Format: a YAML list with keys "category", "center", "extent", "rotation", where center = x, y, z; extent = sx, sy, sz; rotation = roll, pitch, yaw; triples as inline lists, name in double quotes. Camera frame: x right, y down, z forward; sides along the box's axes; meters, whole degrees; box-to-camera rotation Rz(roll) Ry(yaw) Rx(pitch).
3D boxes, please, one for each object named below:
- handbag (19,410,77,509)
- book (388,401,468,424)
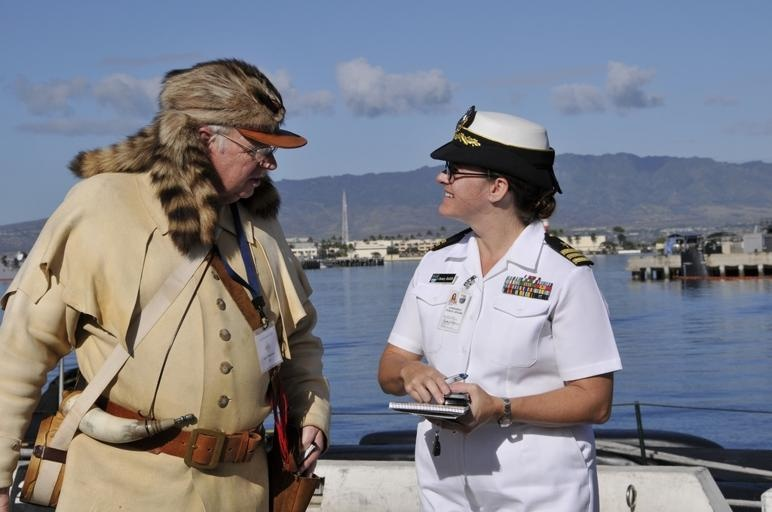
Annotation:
- category: "handbag"
  center: [-2.048, 1.228, 6.596]
  extent: [0.378, 0.578, 0.160]
  rotation: [0, 4, 17]
- category: "book"
  center: [0.257, 0.902, 6.414]
  extent: [0.478, 0.148, 0.275]
  rotation: [-1, 3, -5]
